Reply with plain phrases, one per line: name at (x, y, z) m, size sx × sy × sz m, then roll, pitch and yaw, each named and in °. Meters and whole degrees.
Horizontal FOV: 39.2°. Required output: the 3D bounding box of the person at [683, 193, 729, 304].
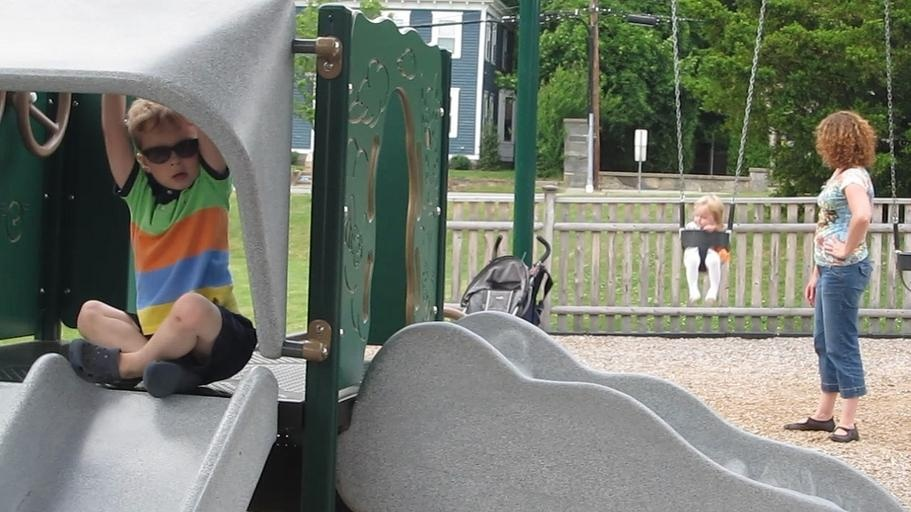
person at (2.706, -0.117, 13.904) m, size 0.481 × 1.324 × 0.582 m, roll 0°, pitch 1°, yaw 14°

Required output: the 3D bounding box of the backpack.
backpack at (0.460, 0.283, 12.493) m, size 0.803 × 0.603 × 0.417 m, roll 0°, pitch 4°, yaw -1°

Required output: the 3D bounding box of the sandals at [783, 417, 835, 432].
sandals at (3.448, 1.613, 12.532) m, size 0.465 × 0.155 × 0.173 m, roll 3°, pitch -1°, yaw 13°

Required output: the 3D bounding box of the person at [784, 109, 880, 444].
person at (3.628, 0.181, 12.161) m, size 0.551 × 3.142 × 0.408 m, roll 1°, pitch 4°, yaw 17°
